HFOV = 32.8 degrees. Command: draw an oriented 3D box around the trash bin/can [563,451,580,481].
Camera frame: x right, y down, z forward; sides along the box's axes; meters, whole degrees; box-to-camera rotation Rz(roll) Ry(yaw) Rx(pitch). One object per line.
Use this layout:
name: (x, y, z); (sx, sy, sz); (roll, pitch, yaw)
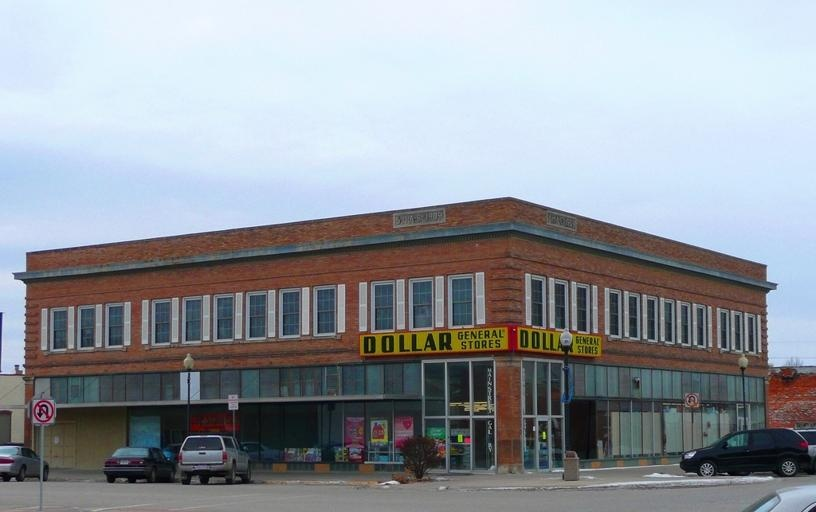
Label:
trash bin/can: (8.258, 10.672, 70.431); (0.738, 1.532, 0.991); (-3, -16, 3)

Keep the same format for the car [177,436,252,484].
car: (-10.151, 10.932, 74.354); (3.654, 2.667, 2.004); (12, -21, -41)

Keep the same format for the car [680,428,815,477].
car: (17.801, 10.283, 72.649); (5.800, 1.912, 2.576); (-1, -9, 15)
